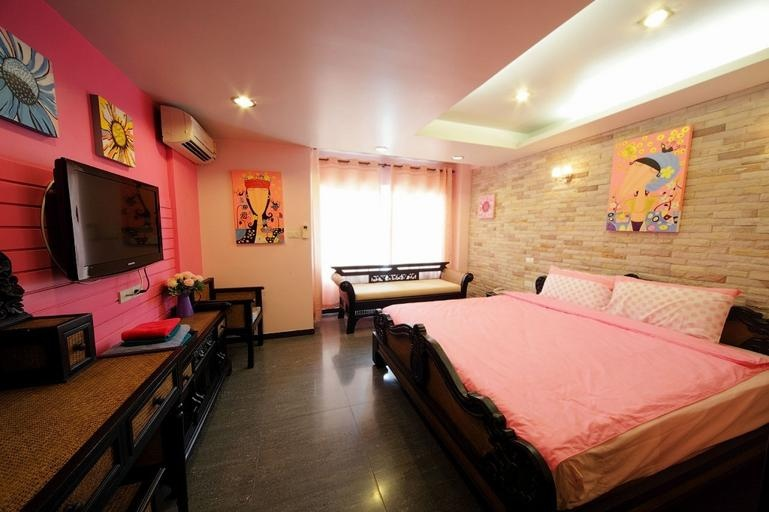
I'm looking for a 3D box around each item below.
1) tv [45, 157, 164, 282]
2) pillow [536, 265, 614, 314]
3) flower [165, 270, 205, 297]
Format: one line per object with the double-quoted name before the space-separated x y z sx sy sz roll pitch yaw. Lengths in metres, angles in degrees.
"tv" -2.100 -0.269 3.482 0.364 0.897 1.018 -2 -2 7
"pillow" 1.971 0.321 4.744 0.171 0.366 0.588 26 2 -26
"flower" -1.802 0.234 4.240 0.239 0.163 0.234 -3 4 -25
